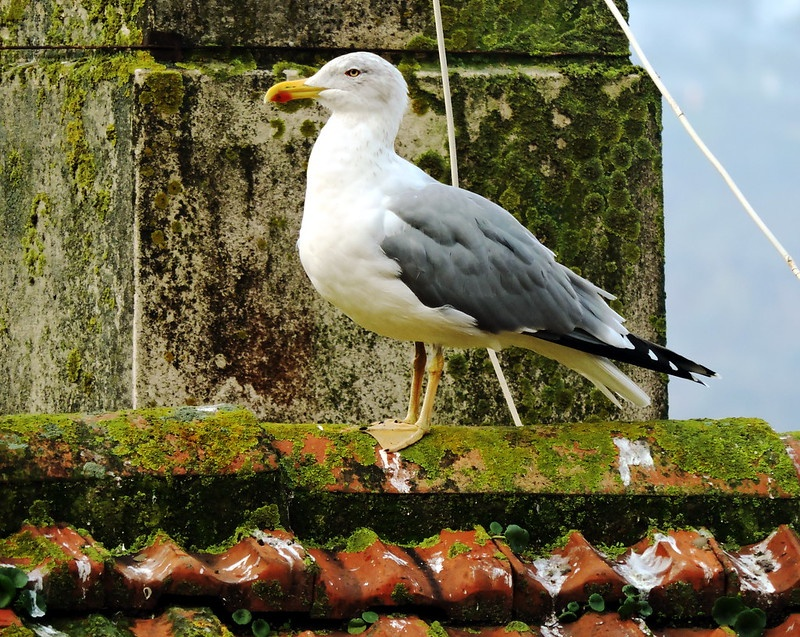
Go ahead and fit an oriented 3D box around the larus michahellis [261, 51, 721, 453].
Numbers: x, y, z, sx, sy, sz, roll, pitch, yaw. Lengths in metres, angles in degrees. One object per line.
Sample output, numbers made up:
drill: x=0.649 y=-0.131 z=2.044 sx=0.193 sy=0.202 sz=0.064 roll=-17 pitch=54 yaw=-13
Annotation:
larus michahellis: x=0.162 y=-0.413 z=6.914 sx=1.342 sy=1.080 sz=0.504 roll=1 pitch=10 yaw=-1
